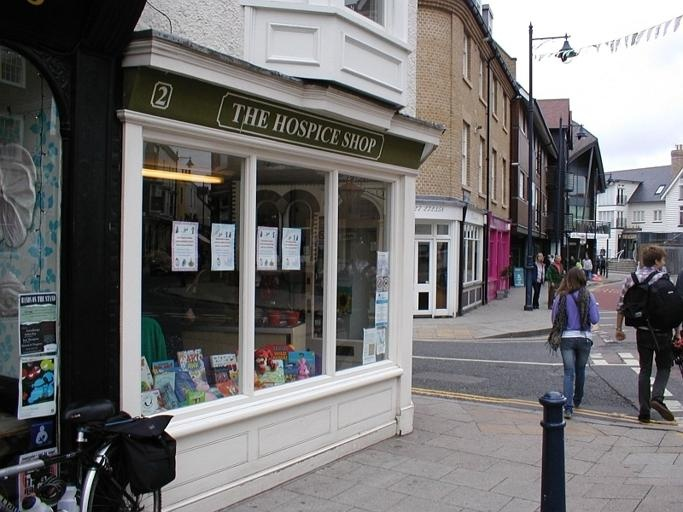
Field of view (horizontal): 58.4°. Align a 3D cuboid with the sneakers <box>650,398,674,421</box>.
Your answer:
[{"bbox_3d":[4.251,2.048,8.092,0.210,0.296,0.417,-2,-1,39],"label":"sneakers"}]

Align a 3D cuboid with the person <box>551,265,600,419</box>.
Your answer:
[{"bbox_3d":[3.196,1.179,8.511,0.594,1.897,0.503,-1,-1,-11],"label":"person"}]

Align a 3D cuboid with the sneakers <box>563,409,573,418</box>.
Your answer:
[{"bbox_3d":[3.093,2.150,8.371,0.065,0.098,0.197,1,3,9],"label":"sneakers"}]

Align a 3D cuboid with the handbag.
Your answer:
[{"bbox_3d":[-1.365,1.422,4.382,0.295,0.549,0.526,-19,-11,27],"label":"handbag"}]
